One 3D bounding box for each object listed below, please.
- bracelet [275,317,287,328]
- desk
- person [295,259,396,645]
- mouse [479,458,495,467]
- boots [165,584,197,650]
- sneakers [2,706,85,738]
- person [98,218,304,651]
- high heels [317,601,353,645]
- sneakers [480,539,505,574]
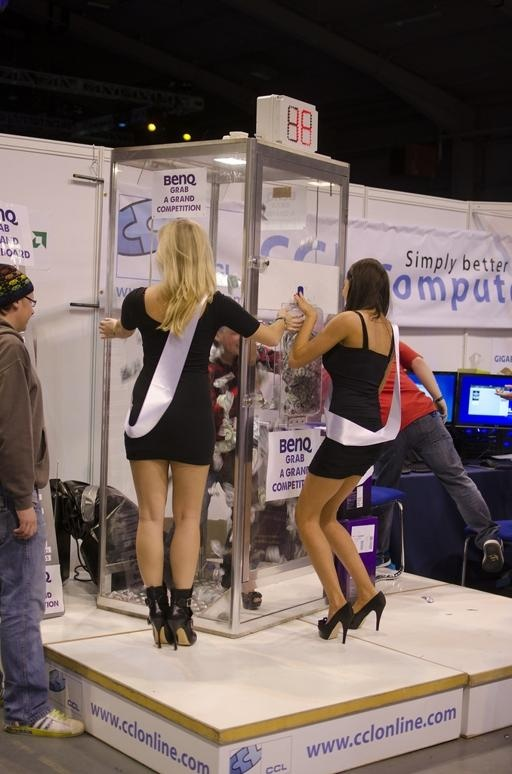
[{"bbox_3d":[0.094,-0.230,2.277,0.033,0.036,0.013,-4,-6,-41],"label":"bracelet"},{"bbox_3d":[1.077,0.774,3.618,0.875,0.795,0.468,0,4,-13],"label":"desk"},{"bbox_3d":[0.317,0.228,2.301,0.406,1.373,0.454,2,-7,4],"label":"person"},{"bbox_3d":[1.527,0.496,4.189,0.059,0.021,0.059,-7,8,-42],"label":"mouse"},{"bbox_3d":[-0.252,0.786,2.188,0.087,0.207,0.166,0,-3,20],"label":"boots"},{"bbox_3d":[-0.609,0.958,1.861,0.227,0.094,0.081,1,-6,-14],"label":"sneakers"},{"bbox_3d":[-0.239,0.162,2.148,0.621,1.431,0.352,1,-7,8],"label":"person"},{"bbox_3d":[0.286,0.847,2.314,0.096,0.132,0.172,-2,-3,-27],"label":"high heels"},{"bbox_3d":[1.194,0.853,3.260,0.106,0.191,0.070,0,3,10],"label":"sneakers"}]
